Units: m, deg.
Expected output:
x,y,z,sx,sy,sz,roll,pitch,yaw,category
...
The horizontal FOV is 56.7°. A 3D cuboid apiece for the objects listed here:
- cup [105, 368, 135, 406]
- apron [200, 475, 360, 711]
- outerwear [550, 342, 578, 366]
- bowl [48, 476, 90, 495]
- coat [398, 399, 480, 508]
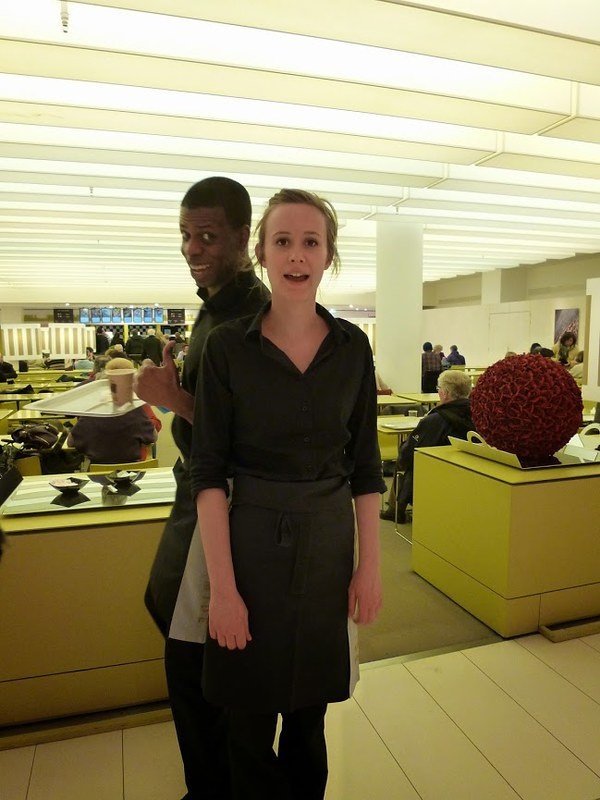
x,y,z,sx,sy,sz,roll,pitch,yaw,category
-0.423,-0.030,1.372,0.087,0.087,0.088,0,12,0,cup
-0.029,0.365,1.094,0.299,0.389,0.204,2,-5,-17,apron
4.685,-0.806,9.840,0.370,0.441,0.922,0,2,24,outerwear
-0.865,0.317,2.093,0.080,0.028,0.077,1,4,0,bowl
0.905,0.428,4.063,0.397,0.866,0.639,-2,2,-37,coat
